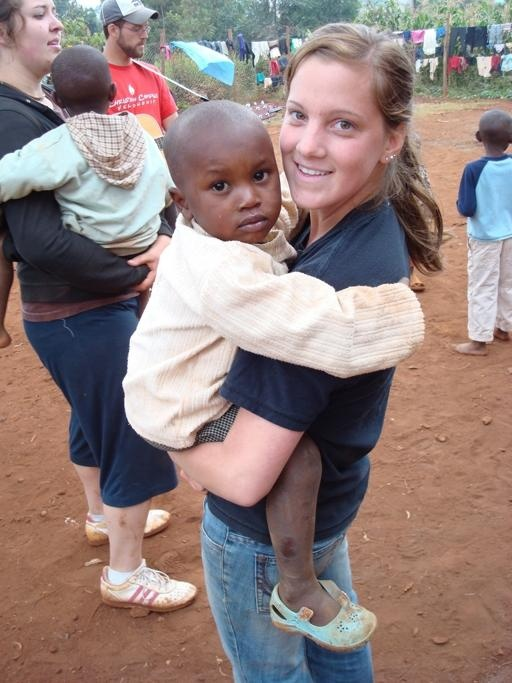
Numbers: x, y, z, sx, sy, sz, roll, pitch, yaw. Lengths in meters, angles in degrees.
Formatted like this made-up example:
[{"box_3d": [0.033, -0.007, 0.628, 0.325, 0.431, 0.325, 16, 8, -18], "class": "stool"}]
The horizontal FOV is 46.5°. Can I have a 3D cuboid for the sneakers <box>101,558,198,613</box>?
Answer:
[{"box_3d": [-0.495, 1.157, 2.902, 0.531, 0.202, 0.210, 2, 17, -11], "class": "sneakers"}]

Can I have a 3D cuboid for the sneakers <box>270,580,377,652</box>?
[{"box_3d": [0.153, 0.638, 1.378, 0.239, 0.095, 0.134, 10, 33, 19], "class": "sneakers"}]

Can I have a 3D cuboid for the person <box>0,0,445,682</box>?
[{"box_3d": [0.153, 0.131, 1.470, 0.461, 1.685, 0.725, 7, 23, 17], "class": "person"}]
